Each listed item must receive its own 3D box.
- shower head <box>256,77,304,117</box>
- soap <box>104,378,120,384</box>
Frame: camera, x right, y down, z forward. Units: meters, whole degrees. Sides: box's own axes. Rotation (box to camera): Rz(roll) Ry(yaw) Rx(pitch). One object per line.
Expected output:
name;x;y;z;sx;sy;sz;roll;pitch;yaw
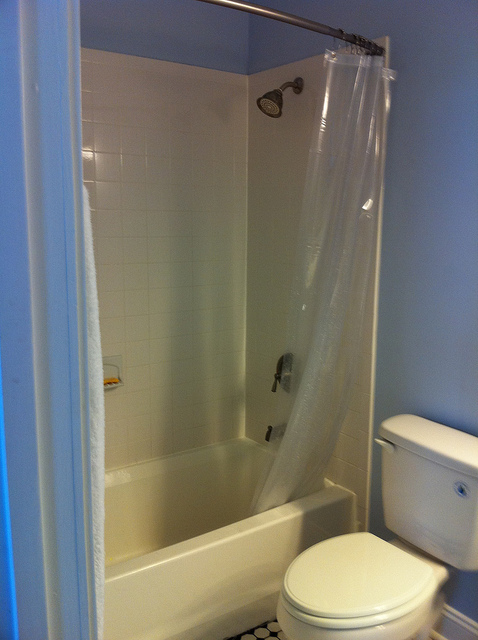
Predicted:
shower head;0.131;-0.784;1.834;0.097;0.156;0.233;19;24;22
soap;-0.540;0.259;2.206;0.056;0.023;0.021;-9;10;-33
